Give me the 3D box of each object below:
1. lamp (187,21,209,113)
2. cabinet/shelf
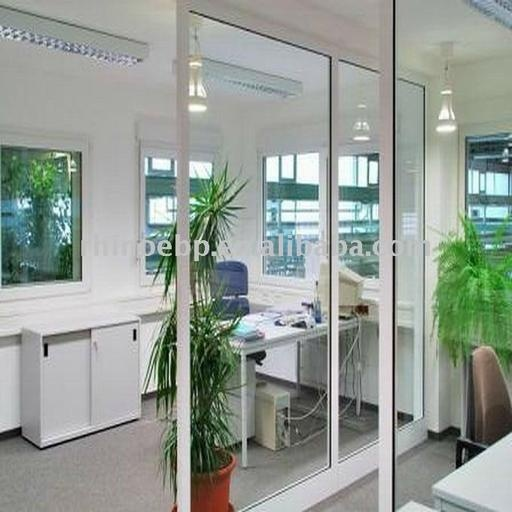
[{"bbox_3d":[-0.232,-0.727,1.817,0.027,0.341,0.105,1,2,36],"label":"lamp"},{"bbox_3d":[-1.284,0.907,3.335,0.280,0.798,0.687,-6,-6,44],"label":"cabinet/shelf"}]
